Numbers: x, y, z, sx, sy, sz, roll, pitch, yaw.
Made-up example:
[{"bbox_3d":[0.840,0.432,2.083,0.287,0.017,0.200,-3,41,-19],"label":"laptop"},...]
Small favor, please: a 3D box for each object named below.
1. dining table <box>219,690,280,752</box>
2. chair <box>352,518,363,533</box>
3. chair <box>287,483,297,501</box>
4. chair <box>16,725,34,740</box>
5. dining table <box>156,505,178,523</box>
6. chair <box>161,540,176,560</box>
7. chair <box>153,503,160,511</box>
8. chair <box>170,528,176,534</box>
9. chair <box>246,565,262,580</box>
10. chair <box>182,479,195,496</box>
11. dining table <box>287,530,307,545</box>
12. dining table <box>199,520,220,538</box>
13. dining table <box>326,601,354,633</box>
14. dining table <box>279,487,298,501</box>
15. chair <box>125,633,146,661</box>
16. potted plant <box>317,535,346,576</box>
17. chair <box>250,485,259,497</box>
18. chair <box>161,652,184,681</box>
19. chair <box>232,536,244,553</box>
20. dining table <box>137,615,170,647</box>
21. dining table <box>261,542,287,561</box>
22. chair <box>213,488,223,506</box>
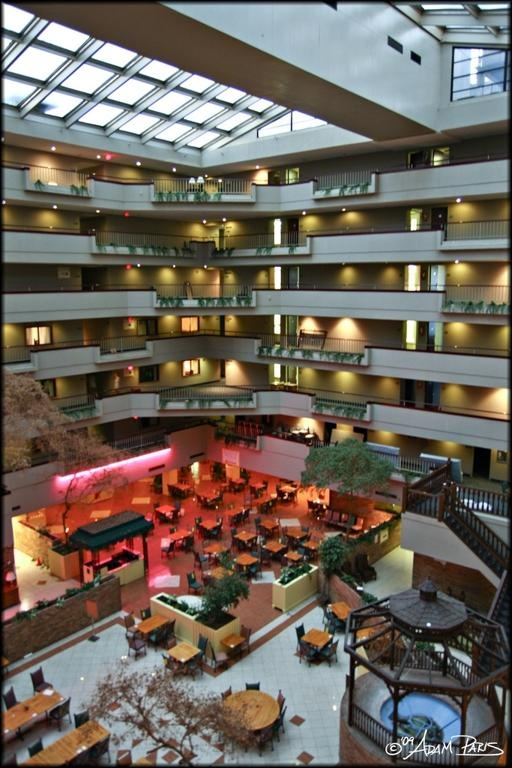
[{"bbox_3d":[-0.023,7.060,11.236,1.290,0.350,1.408,16,16,-8],"label":"dining table"},{"bbox_3d":[4.275,5.898,22.065,0.343,0.570,0.440,4,2,33],"label":"chair"},{"bbox_3d":[1.739,5.482,26.897,0.515,0.926,0.559,2,3,31],"label":"chair"},{"bbox_3d":[-5.204,7.800,11.851,0.254,0.274,0.244,-16,37,-31],"label":"chair"},{"bbox_3d":[-4.067,5.921,24.047,0.508,0.753,0.495,-12,23,-40],"label":"dining table"},{"bbox_3d":[-3.501,6.654,21.120,0.498,0.896,0.542,-6,14,-44],"label":"chair"},{"bbox_3d":[-4.733,5.754,25.004,0.240,0.440,0.232,10,14,40],"label":"chair"},{"bbox_3d":[-3.502,6.162,22.207,0.156,0.295,0.171,1,1,21],"label":"chair"},{"bbox_3d":[-0.094,6.892,19.346,0.436,0.638,0.485,12,22,33],"label":"chair"},{"bbox_3d":[-3.592,5.378,27.417,0.528,0.921,0.586,3,5,33],"label":"chair"},{"bbox_3d":[1.604,6.091,21.199,0.495,0.322,0.511,12,22,32],"label":"dining table"},{"bbox_3d":[-1.922,6.179,22.277,0.918,0.799,1.029,-4,8,-7],"label":"dining table"},{"bbox_3d":[2.465,7.103,15.998,0.749,0.763,0.896,-2,8,7],"label":"dining table"},{"bbox_3d":[1.634,5.502,26.647,0.727,0.900,0.728,7,14,30],"label":"dining table"},{"bbox_3d":[-3.441,7.522,15.079,0.363,0.645,0.391,19,29,36],"label":"chair"},{"bbox_3d":[2.598,5.762,17.598,0.966,1.418,0.854,-3,8,5],"label":"potted plant"},{"bbox_3d":[-0.057,5.319,26.197,0.340,0.504,0.623,-7,9,-26],"label":"chair"},{"bbox_3d":[-2.197,7.384,13.759,0.585,0.480,0.419,3,10,39],"label":"chair"},{"bbox_3d":[-0.722,6.377,21.117,0.539,0.654,0.313,0,8,23],"label":"chair"},{"bbox_3d":[-2.968,7.180,15.457,0.840,0.511,0.824,-21,34,-38],"label":"dining table"},{"bbox_3d":[0.683,6.540,20.667,0.716,0.470,0.725,17,25,40],"label":"dining table"},{"bbox_3d":[-1.973,5.587,25.889,0.452,0.794,0.484,4,5,37],"label":"chair"}]
